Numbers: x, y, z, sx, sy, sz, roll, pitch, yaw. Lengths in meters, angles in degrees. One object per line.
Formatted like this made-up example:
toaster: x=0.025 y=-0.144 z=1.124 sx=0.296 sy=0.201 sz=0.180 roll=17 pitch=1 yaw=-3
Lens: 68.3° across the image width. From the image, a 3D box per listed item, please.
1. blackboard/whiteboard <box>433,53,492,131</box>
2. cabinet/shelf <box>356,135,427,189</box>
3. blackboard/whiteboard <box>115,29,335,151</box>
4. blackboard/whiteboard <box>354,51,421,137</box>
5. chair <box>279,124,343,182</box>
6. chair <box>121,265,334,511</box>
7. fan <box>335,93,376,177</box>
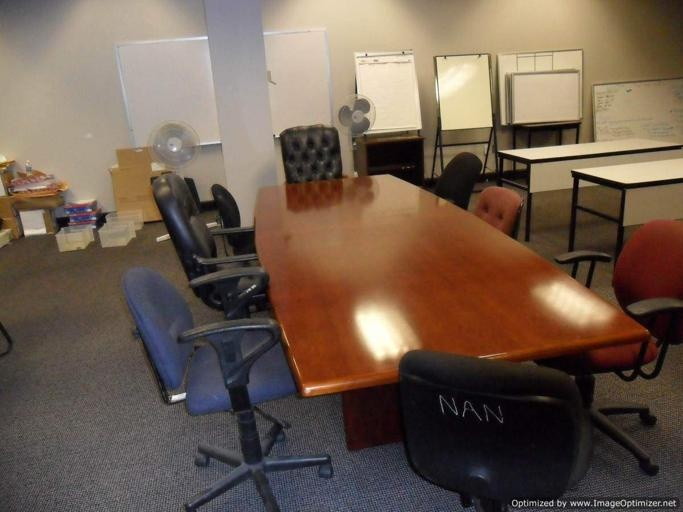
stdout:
blackboard/whiteboard: x=1.542 y=-2.126 z=6.443 sx=0.815 sy=1.111 sz=0.076 roll=-4 pitch=11 yaw=-10
cabinet/shelf: x=0.601 y=-1.267 z=6.555 sx=0.849 sy=0.898 sz=0.692 roll=-6 pitch=22 yaw=-11
blackboard/whiteboard: x=-1.379 y=-1.846 z=5.478 sx=1.637 sy=1.040 sz=0.035 roll=-5 pitch=24 yaw=-4
blackboard/whiteboard: x=0.533 y=-1.990 z=6.116 sx=0.868 sy=1.207 sz=0.623 roll=-5 pitch=17 yaw=-9
chair: x=-0.287 y=-0.960 z=4.748 sx=0.532 sy=0.501 sz=0.265 roll=-8 pitch=20 yaw=-5
chair: x=-0.461 y=0.278 z=2.780 sx=0.953 sy=1.641 sz=1.008 roll=-7 pitch=26 yaw=-8
fan: x=0.207 y=-1.419 z=6.042 sx=0.399 sy=1.064 sz=1.075 roll=-4 pitch=21 yaw=5
